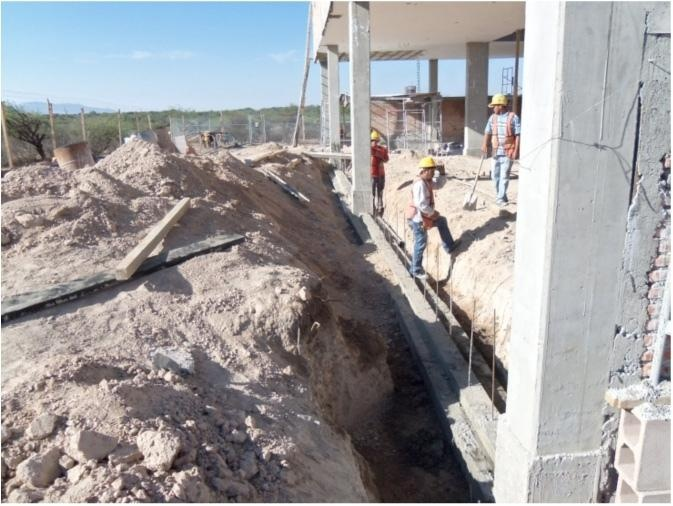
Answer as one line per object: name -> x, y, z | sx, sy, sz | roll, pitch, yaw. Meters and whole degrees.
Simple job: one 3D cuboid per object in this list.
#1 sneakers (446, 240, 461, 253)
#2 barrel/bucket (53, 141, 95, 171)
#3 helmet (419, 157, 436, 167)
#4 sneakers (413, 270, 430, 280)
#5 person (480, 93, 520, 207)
sneakers -> 1.771, -0.085, 7.947 | 0.307, 0.137, 0.110 | -30, 37, -29
barrel/bucket -> -4.458, -1.664, 8.812 | 0.544, 0.490, 1.274 | -8, 12, -24
helmet -> 1.307, -1.325, 7.509 | 0.187, 0.133, 0.245 | -1, 3, 1
sneakers -> 1.281, 0.342, 7.801 | 0.252, 0.124, 0.103 | 3, 19, 31
person -> 2.725, -1.711, 8.549 | 0.539, 1.806, 1.229 | -1, 11, 12
